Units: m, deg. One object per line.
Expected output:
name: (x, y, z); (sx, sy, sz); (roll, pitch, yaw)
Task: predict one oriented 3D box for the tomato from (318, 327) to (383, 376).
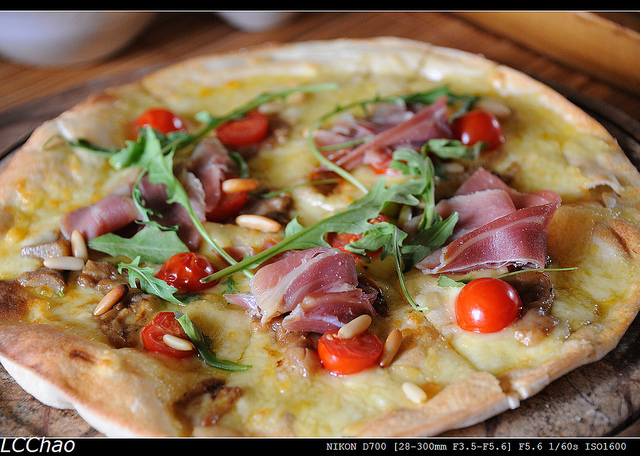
tomato: (0.184, 0.759, 3.393); (0.387, 0.110, 0.288); (5, 69, 4)
